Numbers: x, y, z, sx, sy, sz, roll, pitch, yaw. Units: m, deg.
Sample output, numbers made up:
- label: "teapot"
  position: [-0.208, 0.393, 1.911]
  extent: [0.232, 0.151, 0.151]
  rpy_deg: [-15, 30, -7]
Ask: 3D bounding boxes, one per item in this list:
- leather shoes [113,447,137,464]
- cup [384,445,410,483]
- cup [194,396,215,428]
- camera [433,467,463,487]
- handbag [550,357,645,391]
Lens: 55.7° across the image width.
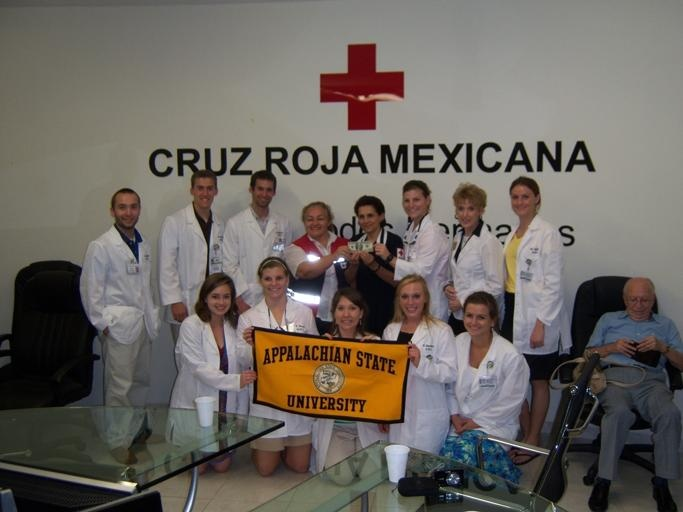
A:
- label: "leather shoes"
  position: [-1.272, 1.177, 3.799]
  extent: [0.112, 0.088, 0.073]
  rpy_deg: [15, 19, 25]
- label: "cup"
  position: [0.318, 1.172, 3.669]
  extent: [0.162, 0.181, 0.176]
  rpy_deg: [0, -1, 0]
- label: "cup"
  position: [-0.858, 0.976, 4.062]
  extent: [0.154, 0.195, 0.164]
  rpy_deg: [0, -2, 0]
- label: "camera"
  position: [0.609, 1.237, 3.626]
  extent: [0.179, 0.079, 0.132]
  rpy_deg: [2, 8, 8]
- label: "handbag"
  position: [1.994, 0.899, 4.925]
  extent: [0.694, 0.250, 0.436]
  rpy_deg: [-2, 8, 17]
